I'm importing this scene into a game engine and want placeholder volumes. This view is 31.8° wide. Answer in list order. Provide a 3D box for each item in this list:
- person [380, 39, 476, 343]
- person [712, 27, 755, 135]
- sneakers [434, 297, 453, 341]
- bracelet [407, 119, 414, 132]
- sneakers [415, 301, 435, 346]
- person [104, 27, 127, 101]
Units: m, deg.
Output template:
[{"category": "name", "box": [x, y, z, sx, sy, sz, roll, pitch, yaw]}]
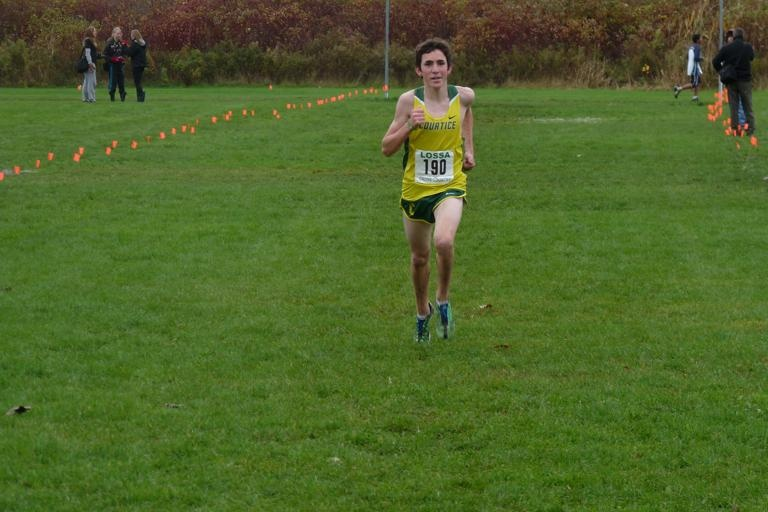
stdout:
[{"category": "person", "box": [0.652, -0.913, 18.846, 1.201, 4.194, 0.793, -1, 11, 1]}, {"category": "person", "box": [7.356, -3.586, 27.778, 0.851, 2.129, 0.791, -10, 14, -38]}, {"category": "sneakers", "box": [0.838, 0.886, 19.066, 0.188, 0.550, 0.240, -4, 20, 3]}, {"category": "bracelet", "box": [0.354, -1.789, 18.443, 0.099, 0.137, 0.036, 7, 4, 40]}, {"category": "sneakers", "box": [0.572, 0.966, 19.086, 0.196, 0.586, 0.254, 1, 8, 8]}, {"category": "person", "box": [-7.227, -5.072, 35.700, 0.567, 1.935, 1.370, -3, 12, -11]}]
